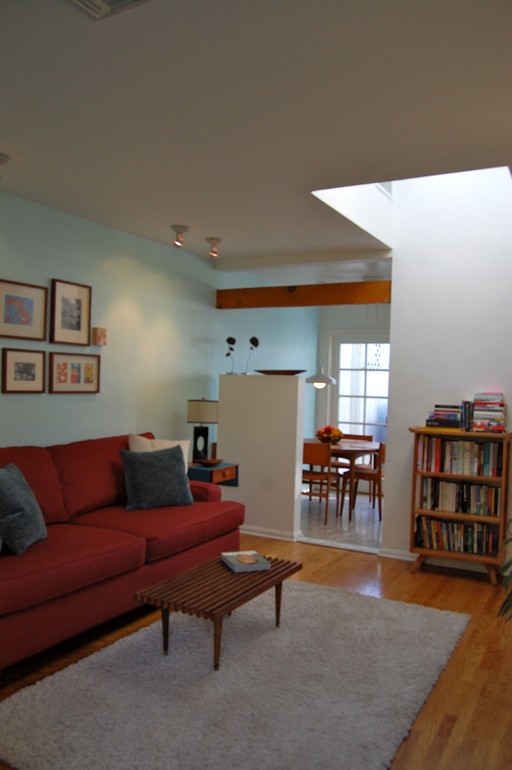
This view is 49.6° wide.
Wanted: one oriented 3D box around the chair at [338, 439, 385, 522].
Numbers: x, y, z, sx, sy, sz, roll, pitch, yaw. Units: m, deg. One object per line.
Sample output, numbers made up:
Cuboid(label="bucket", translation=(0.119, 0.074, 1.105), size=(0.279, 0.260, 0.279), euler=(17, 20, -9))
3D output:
Cuboid(label="chair", translation=(1.192, 0.998, 5.945), size=(0.712, 0.703, 0.738), euler=(-1, -1, 28))

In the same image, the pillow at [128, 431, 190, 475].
Cuboid(label="pillow", translation=(-0.673, 0.465, 3.768), size=(0.324, 0.117, 0.312), euler=(-7, 43, -25))

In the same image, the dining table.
Cuboid(label="dining table", translation=(0.931, 0.926, 5.919), size=(0.779, 0.585, 0.764), euler=(-1, 3, -35))

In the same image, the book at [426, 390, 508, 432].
Cuboid(label="book", translation=(1.455, 0.185, 3.859), size=(0.507, 0.270, 0.210), euler=(1, -3, 15))

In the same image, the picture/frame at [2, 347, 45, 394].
Cuboid(label="picture/frame", translation=(-1.448, -0.090, 3.415), size=(0.026, 0.245, 0.289), euler=(0, 0, 29))

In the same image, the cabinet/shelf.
Cuboid(label="cabinet/shelf", translation=(1.426, 0.819, 3.890), size=(0.662, 1.028, 0.443), euler=(1, -3, 19))
